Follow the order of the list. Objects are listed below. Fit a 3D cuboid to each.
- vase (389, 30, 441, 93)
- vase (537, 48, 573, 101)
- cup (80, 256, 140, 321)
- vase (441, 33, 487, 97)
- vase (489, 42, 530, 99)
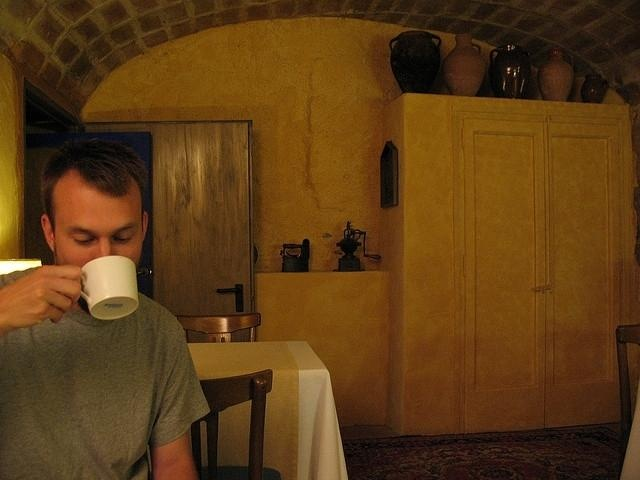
[{"bbox_3d":[0.690,-1.274,4.472,0.367,0.432,0.368,0,7,14],"label":"vase"},{"bbox_3d":[1.749,-1.205,4.564,0.226,0.372,0.234,-1,8,-9],"label":"vase"},{"bbox_3d":[-0.662,0.148,1.878,0.188,0.141,0.151,-2,-35,-28],"label":"cup"},{"bbox_3d":[1.052,-1.255,4.498,0.314,0.461,0.307,-1,1,-39],"label":"vase"},{"bbox_3d":[1.394,-1.209,4.495,0.296,0.389,0.280,-4,9,-14],"label":"vase"}]
